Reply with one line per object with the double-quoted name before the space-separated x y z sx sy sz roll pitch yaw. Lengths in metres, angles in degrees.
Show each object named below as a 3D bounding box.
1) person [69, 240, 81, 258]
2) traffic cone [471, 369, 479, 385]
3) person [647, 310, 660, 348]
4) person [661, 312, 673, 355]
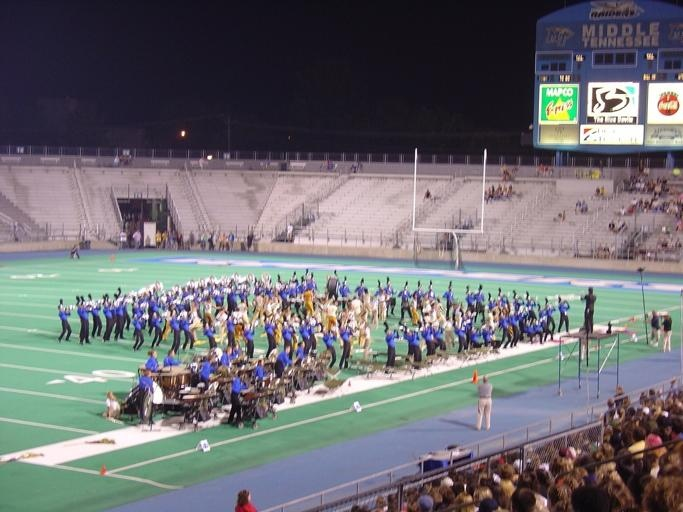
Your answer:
"person" -14.481 -0.344 54.685 0.475 1.291 0.611 -5 14 -15
"traffic cone" 3.753 3.422 28.290 0.303 0.341 0.311 -1 10 20
"person" 10.066 2.310 32.283 0.374 1.163 1.266 -5 0 16
"person" 10.318 2.387 31.941 0.309 1.243 1.339 -5 0 18
